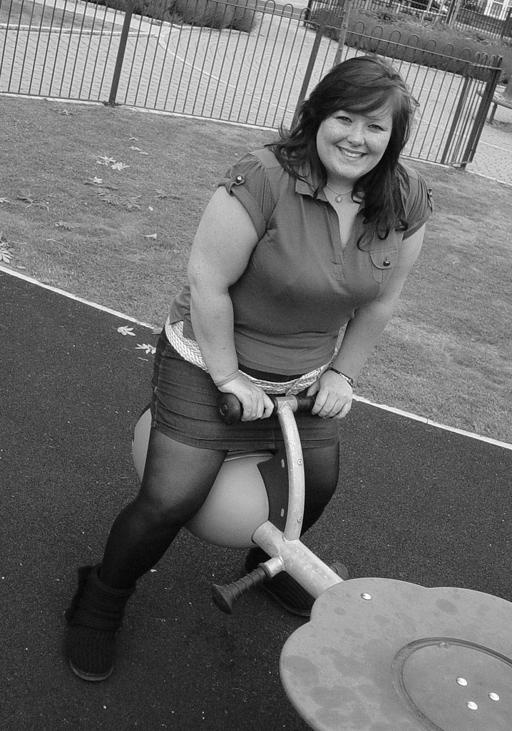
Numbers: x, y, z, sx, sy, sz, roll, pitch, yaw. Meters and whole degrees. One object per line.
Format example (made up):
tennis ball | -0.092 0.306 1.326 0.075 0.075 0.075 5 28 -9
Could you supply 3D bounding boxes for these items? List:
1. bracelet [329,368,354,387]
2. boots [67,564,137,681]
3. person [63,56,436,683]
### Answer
bracelet | 0.253 0.029 1.895 0.064 0.025 0.056 36 7 -2
boots | -0.421 0.675 1.801 0.147 0.253 0.391 15 33 -26
person | 0.008 0.055 1.752 0.962 1.727 0.461 -2 15 -31
